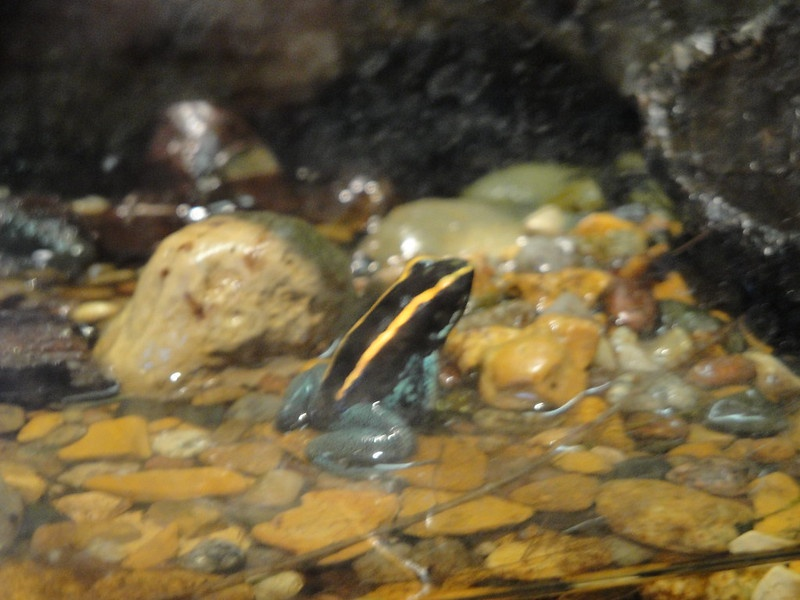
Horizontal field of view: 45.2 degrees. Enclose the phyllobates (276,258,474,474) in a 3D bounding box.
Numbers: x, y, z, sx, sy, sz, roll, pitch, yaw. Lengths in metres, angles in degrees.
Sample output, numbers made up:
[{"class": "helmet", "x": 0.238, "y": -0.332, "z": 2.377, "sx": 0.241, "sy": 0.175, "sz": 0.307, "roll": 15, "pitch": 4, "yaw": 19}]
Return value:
[{"class": "phyllobates", "x": 0.032, "y": 0.096, "z": 1.312, "sx": 0.313, "sy": 0.125, "sz": 0.232, "roll": -39, "pitch": 61, "yaw": -12}]
